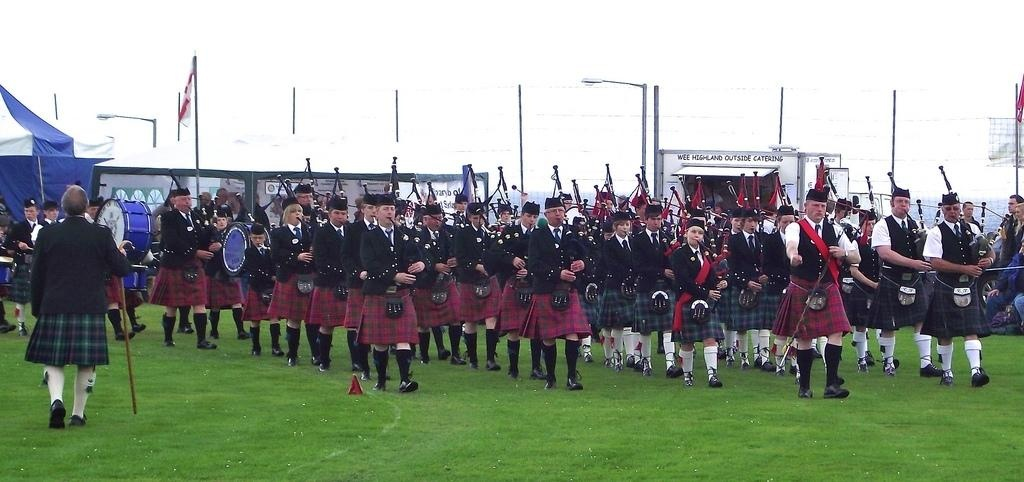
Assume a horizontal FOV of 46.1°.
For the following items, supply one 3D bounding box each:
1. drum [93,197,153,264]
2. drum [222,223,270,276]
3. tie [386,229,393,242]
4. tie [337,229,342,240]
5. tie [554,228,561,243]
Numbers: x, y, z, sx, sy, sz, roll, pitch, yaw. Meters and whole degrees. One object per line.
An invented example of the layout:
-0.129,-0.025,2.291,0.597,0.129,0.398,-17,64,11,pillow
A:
-6.943,-0.241,21.338,0.572,1.051,1.254,-2,6,-42,drum
-4.437,0.162,19.812,0.570,0.777,0.959,2,-9,-44,drum
-1.871,-0.102,17.862,0.107,0.141,0.099,-1,16,-6,tie
-2.725,-0.122,18.688,0.101,0.147,0.126,-4,16,-15,tie
0.667,-0.089,18.206,0.107,0.190,0.155,0,15,1,tie
